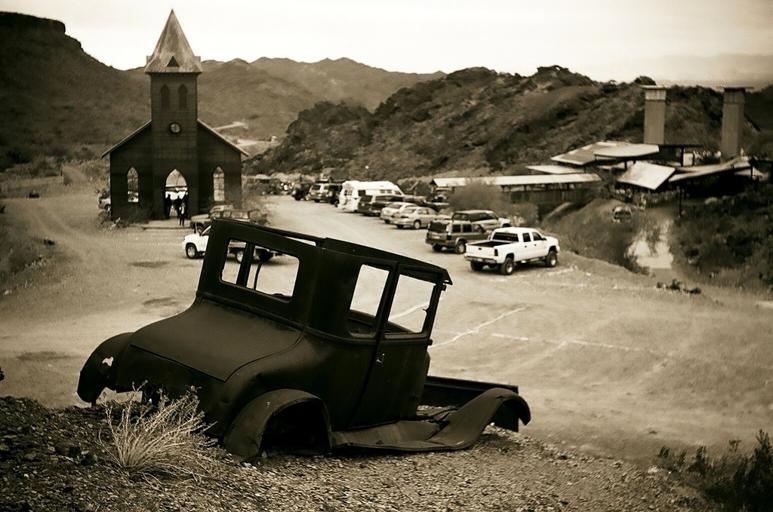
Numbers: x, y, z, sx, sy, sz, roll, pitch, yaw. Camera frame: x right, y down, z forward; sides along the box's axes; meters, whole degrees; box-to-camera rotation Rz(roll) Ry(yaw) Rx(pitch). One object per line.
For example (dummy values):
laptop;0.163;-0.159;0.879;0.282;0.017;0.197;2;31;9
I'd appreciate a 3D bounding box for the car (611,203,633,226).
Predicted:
car;16.115;-2.747;53.368;1.010;0.861;2.266;1;21;17

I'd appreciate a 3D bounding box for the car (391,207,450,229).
car;2.246;-2.312;50.685;3.282;1.146;1.562;-9;13;-30

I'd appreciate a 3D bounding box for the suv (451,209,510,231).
suv;5.173;-2.083;43.033;2.760;1.316;1.433;-10;15;-27

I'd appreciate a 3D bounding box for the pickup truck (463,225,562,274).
pickup truck;6.142;-0.431;37.612;4.237;1.750;2.082;-12;15;-36

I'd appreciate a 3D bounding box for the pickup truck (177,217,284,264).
pickup truck;-7.842;-0.650;37.629;4.064;1.813;1.842;3;4;-4

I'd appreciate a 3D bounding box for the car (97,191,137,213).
car;-17.213;-3.529;49.793;2.071;0.931;3.073;13;16;37

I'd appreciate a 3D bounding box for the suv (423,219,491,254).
suv;3.776;-1.115;41.763;2.908;1.435;1.685;-12;15;-37

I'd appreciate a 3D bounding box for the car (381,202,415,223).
car;0.805;-2.901;51.675;1.065;0.814;2.347;6;17;38
